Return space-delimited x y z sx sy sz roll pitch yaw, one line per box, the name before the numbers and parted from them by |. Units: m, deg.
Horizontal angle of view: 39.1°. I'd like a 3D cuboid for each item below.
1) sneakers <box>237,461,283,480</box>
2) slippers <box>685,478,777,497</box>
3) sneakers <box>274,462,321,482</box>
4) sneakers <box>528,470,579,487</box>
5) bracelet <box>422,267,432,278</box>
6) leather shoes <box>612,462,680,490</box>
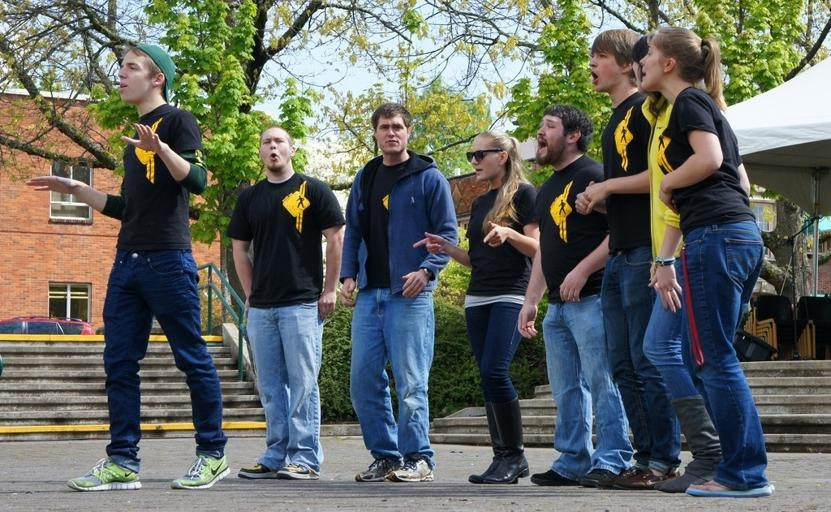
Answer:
sneakers | -1.927 2.666 14.479 0.530 0.197 0.182 8 -16 -9
slippers | 3.495 2.611 12.973 0.923 0.320 0.293 2 -10 7
sneakers | -1.429 2.651 14.301 0.494 0.172 0.199 9 -17 -19
sneakers | 1.633 2.700 14.034 0.626 0.233 0.198 4 -15 4
bracelet | 0.151 0.205 14.238 0.096 0.119 0.033 -30 6 -9
leather shoes | 2.672 2.580 13.593 0.659 0.223 0.277 2 -12 -1
